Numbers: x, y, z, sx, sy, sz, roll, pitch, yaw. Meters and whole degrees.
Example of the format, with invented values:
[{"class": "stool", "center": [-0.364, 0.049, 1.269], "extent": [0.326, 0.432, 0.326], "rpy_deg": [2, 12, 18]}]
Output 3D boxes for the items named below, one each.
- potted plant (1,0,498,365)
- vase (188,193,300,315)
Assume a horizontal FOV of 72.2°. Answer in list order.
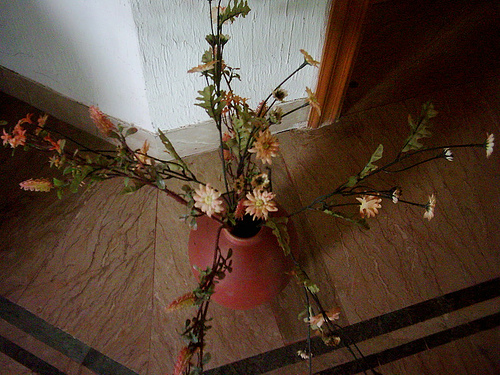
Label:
[{"class": "potted plant", "center": [0.012, -0.151, 1.474], "extent": [1.404, 1.492, 1.134], "rpy_deg": [-1, -27, -5]}, {"class": "vase", "center": [-0.022, 0.186, 0.922], "extent": [0.246, 0.273, 0.303], "rpy_deg": [-11, -29, -9]}]
